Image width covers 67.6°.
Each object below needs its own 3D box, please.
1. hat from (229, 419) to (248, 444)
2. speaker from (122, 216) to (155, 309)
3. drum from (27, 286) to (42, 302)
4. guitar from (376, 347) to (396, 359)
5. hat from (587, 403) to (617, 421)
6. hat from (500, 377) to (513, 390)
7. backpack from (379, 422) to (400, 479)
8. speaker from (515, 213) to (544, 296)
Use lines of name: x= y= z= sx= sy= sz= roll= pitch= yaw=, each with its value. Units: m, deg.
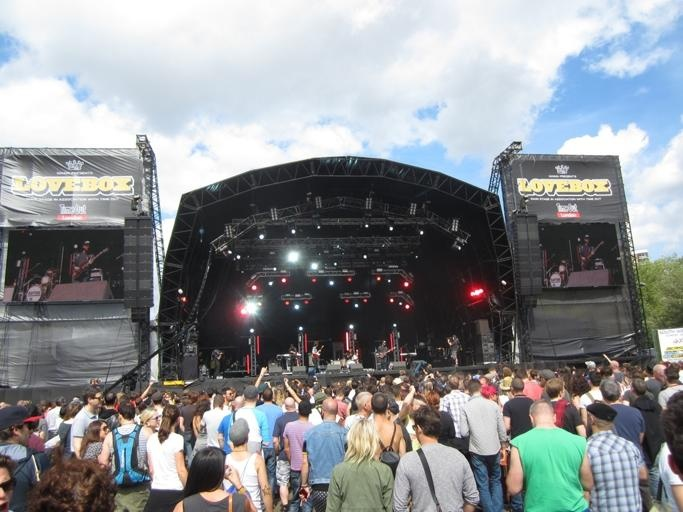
hat: x=-1.206 y=2.093 z=6.042 sx=0.229 sy=0.272 sz=0.286 roll=-2 pitch=-40 yaw=-13
speaker: x=-7.079 y=0.199 z=17.762 sx=0.961 sy=3.082 sz=1.094 roll=3 pitch=-16 yaw=-22
drum: x=-12.295 y=1.528 z=20.369 sx=0.530 sy=0.746 sz=0.302 roll=2 pitch=-23 yaw=-31
guitar: x=2.135 y=4.993 z=26.256 sx=0.880 sy=0.424 sz=1.397 roll=-4 pitch=-10 yaw=12
hat: x=2.913 y=1.748 z=5.711 sx=0.264 sy=0.207 sz=0.184 roll=-8 pitch=-15 yaw=18
hat: x=2.953 y=2.249 z=9.100 sx=0.257 sy=0.112 sz=0.292 roll=0 pitch=-4 yaw=7
backpack: x=0.585 y=2.413 z=6.169 sx=0.226 sy=0.337 sz=0.353 roll=1 pitch=-11 yaw=-3
speaker: x=7.532 y=-0.042 z=20.601 sx=1.057 sy=3.101 sz=1.674 roll=-8 pitch=-15 yaw=17
